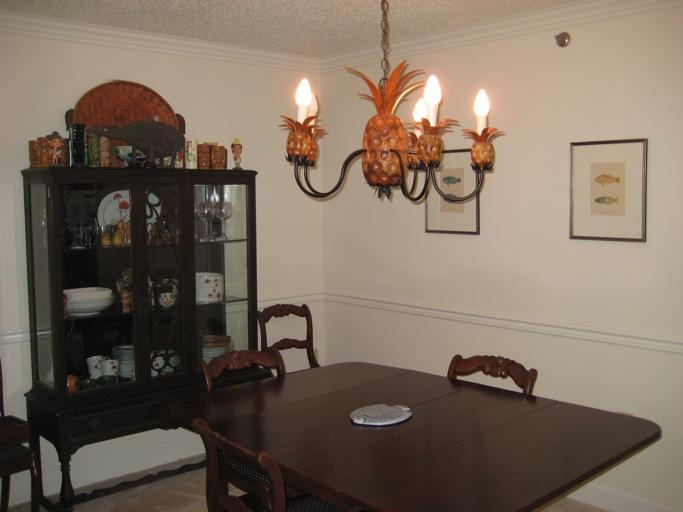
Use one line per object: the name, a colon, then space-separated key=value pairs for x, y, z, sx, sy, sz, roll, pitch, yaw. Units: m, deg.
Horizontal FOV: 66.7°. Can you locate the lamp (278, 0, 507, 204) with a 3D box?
lamp: x=0.375 y=-1.061 z=3.425 sx=1.314 sy=1.432 sz=1.334 roll=2 pitch=5 yaw=45

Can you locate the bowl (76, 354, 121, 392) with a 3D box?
bowl: x=-1.584 y=0.775 z=3.414 sx=0.150 sy=0.213 sz=0.230 roll=-7 pitch=-9 yaw=40

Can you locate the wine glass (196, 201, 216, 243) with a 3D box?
wine glass: x=-0.990 y=-0.256 z=3.816 sx=0.134 sy=0.295 sz=0.134 roll=-2 pitch=21 yaw=-15

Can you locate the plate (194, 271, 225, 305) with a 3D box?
plate: x=-0.961 y=0.248 z=3.808 sx=0.200 sy=0.160 sz=0.187 roll=2 pitch=3 yaw=38

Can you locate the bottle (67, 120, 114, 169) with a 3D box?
bottle: x=-1.613 y=-0.707 z=3.365 sx=0.271 sy=0.274 sz=0.189 roll=-8 pitch=11 yaw=-43
